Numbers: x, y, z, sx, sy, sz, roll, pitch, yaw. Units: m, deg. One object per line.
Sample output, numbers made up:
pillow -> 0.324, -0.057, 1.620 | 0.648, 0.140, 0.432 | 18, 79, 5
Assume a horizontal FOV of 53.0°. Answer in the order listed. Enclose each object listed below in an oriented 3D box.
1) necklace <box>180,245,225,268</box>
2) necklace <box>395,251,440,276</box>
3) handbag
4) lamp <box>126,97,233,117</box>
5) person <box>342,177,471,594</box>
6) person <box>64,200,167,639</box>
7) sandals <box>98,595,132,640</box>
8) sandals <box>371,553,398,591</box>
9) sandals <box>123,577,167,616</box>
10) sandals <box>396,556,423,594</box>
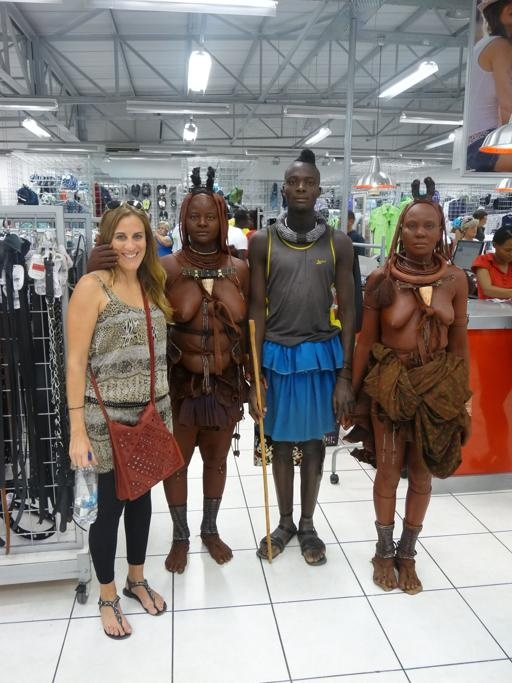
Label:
necklace -> -0.217, -0.348, 2.143 | 0.198, 0.089, 0.108 | 0, 8, -5
necklace -> 0.645, -0.308, 2.057 | 0.193, 0.086, 0.132 | 3, 9, 16
handbag -> -0.414, 0.363, 1.771 | 0.278, 0.315, 0.100 | -24, 14, -39
lamp -> -1.367, -4.078, 8.943 | 1.720, 0.265, 0.803 | 0, 8, -7
person -> 0.651, 0.202, 2.164 | 0.487, 1.719, 0.418 | 2, 9, 9
person -> -0.476, 0.304, 1.857 | 0.226, 1.554, 0.422 | 4, 9, 22
sandals -> -0.533, 1.017, 1.923 | 0.071, 0.073, 0.192 | -2, 15, -30
sandals -> 0.551, 1.009, 2.216 | 0.063, 0.074, 0.179 | 0, -2, 1
sandals -> -0.450, 1.022, 2.090 | 0.196, 0.073, 0.083 | 17, 18, 31
sandals -> 0.652, 1.012, 2.195 | 0.062, 0.067, 0.176 | -1, 1, 1
